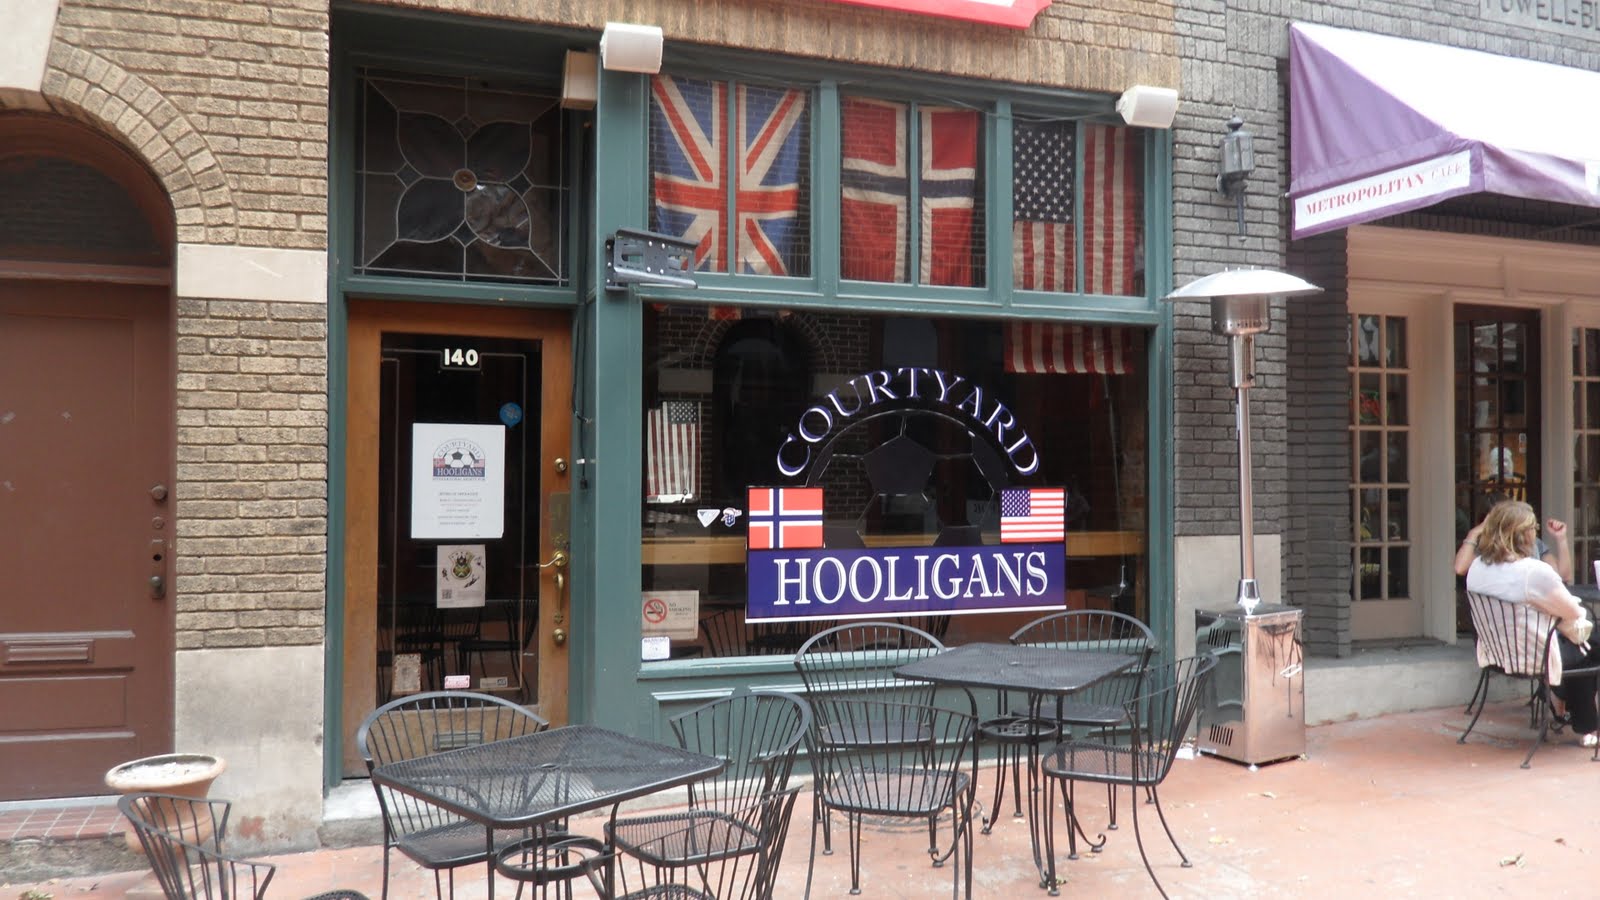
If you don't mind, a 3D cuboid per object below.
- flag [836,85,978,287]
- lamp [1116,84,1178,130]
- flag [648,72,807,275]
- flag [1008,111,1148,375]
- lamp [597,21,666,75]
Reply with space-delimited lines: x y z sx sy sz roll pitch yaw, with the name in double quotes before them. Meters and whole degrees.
"flag" 0.793 -2.171 12.083 1.660 1.945 0.115 2 -5 -20
"lamp" 2.873 -2.836 12.287 0.451 0.302 0.357 -1 2 -17
"flag" -0.657 -2.212 11.776 1.669 1.825 0.100 1 2 -16
"flag" 2.323 -2.048 12.484 1.345 2.316 0.055 -1 -35 11
"lamp" -1.300 -3.085 11.392 0.632 0.416 0.331 0 8 -13
